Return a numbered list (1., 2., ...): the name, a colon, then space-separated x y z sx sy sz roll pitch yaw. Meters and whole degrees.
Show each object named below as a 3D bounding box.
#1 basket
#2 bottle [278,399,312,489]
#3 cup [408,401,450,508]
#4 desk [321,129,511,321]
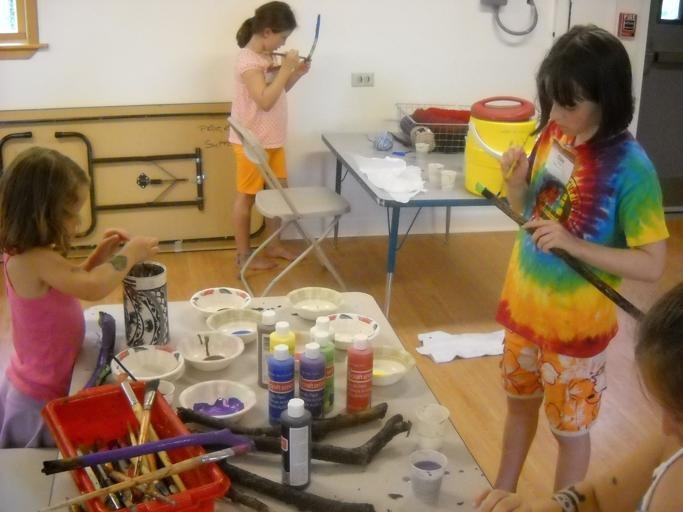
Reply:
1. basket: 0.660 -0.902 4.238 0.661 0.227 0.514 8 6 -33
2. bottle: -0.107 0.450 1.395 0.070 0.211 0.073 1 13 0
3. cup: 0.222 0.486 1.479 0.068 0.062 0.231 1 24 2
4. desk: 0.316 -0.371 3.733 0.532 0.430 0.868 -24 38 -20
